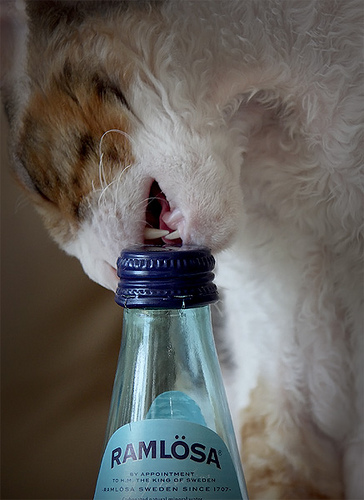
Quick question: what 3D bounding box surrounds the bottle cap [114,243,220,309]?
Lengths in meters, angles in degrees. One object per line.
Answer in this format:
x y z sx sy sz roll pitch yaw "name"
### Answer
-0.009 0.012 0.342 0.071 0.036 0.069 -3 13 -18 "bottle cap"
